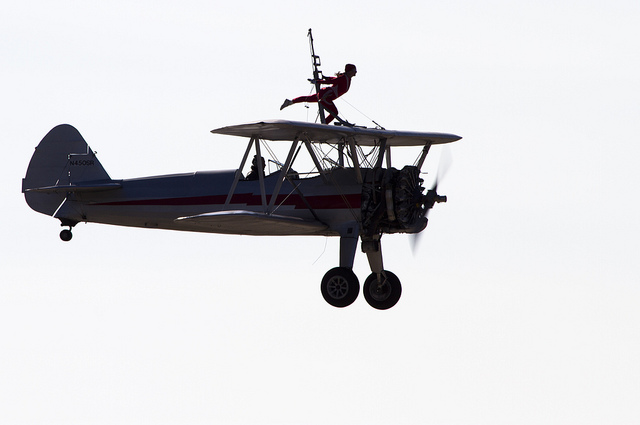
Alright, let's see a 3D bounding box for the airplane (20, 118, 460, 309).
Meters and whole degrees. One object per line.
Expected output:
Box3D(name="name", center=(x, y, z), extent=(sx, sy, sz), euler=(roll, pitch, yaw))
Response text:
Box3D(name="airplane", center=(-2.237, -0.073, 27.715), extent=(9.504, 11.407, 3.823), euler=(-2, -77, -12))
